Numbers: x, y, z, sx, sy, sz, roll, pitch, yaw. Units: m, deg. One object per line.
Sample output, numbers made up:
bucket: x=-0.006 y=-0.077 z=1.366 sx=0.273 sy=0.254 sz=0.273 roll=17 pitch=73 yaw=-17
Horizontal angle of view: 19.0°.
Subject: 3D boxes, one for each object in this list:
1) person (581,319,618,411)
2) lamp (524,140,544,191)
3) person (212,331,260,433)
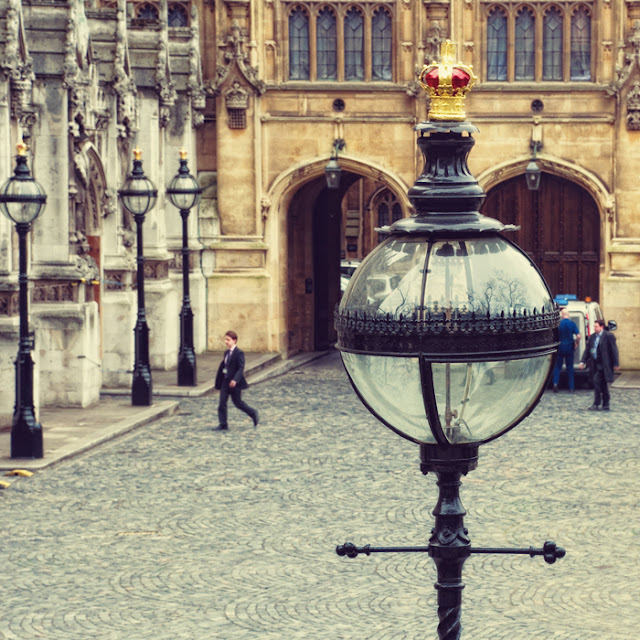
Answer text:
person: x=4.319 y=0.693 z=28.784 sx=0.425 sy=1.316 sz=1.165 roll=1 pitch=7 yaw=9
lamp: x=3.973 y=-2.912 z=35.316 sx=0.390 sy=0.970 sz=0.377 roll=0 pitch=-6 yaw=-5
person: x=-1.186 y=0.834 z=26.491 sx=0.524 sy=1.400 sz=1.147 roll=1 pitch=7 yaw=8
